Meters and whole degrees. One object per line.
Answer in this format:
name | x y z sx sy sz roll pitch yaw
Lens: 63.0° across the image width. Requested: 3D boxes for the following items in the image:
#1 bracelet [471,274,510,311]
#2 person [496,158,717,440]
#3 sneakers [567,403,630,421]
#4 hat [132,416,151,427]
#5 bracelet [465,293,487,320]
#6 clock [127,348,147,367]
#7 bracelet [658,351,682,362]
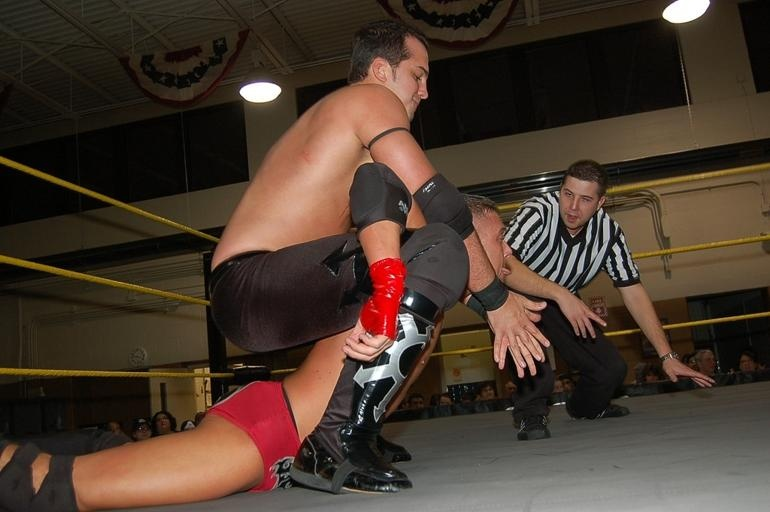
bracelet | 0.496 0.187 2.975 0.155 0.125 0.153 -26 1 -34
person | 1.203 0.283 3.979 1.016 1.750 1.201 -4 -2 -5
sneakers | 1.287 0.956 3.829 0.366 0.158 0.130 0 -10 10
hat | -3.324 2.259 8.572 0.240 0.123 0.319 3 -13 -27
bracelet | 0.466 0.264 3.196 0.099 0.075 0.134 -37 -62 19
clock | -3.899 1.607 9.941 0.283 0.306 0.071 5 -9 30
bracelet | 1.757 0.621 3.913 0.093 0.049 0.155 -12 -10 19
